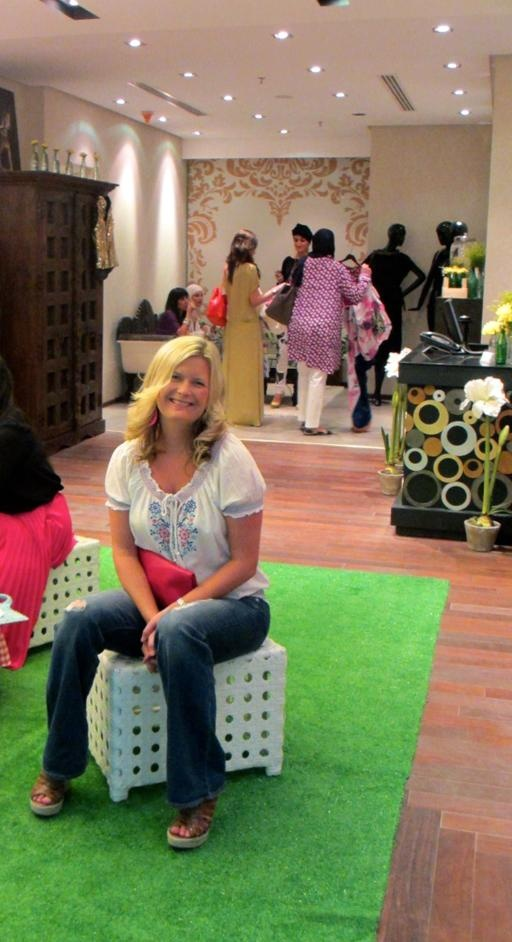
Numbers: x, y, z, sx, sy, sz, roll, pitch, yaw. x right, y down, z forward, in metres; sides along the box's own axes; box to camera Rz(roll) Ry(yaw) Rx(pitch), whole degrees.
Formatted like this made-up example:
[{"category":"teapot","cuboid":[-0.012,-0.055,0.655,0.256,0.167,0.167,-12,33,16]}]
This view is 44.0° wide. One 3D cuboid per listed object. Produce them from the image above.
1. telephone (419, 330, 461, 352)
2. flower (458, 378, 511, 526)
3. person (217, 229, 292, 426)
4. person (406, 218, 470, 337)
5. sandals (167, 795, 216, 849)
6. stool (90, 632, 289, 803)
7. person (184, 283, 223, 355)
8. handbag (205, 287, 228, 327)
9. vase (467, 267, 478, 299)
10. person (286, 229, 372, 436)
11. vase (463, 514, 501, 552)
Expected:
[{"category":"telephone","cuboid":[1.146,-0.775,3.930,0.212,0.083,0.123,26,22,33]},{"category":"flower","cuboid":[1.183,-0.097,3.333,0.265,0.782,0.447,7,7,17]},{"category":"person","cuboid":[-0.064,-1.471,6.555,0.508,1.879,0.564,-17,26,-41]},{"category":"person","cuboid":[2.054,-2.270,7.292,0.343,1.374,1.466,6,7,8]},{"category":"sandals","cuboid":[-0.117,0.660,1.177,0.041,0.073,0.117,1,-19,15]},{"category":"stool","cuboid":[-0.162,0.488,1.475,0.325,0.283,0.344,-2,6,-16]},{"category":"person","cuboid":[-0.717,-1.871,7.966,0.470,0.910,0.613,4,4,14]},{"category":"handbag","cuboid":[-0.391,-1.688,6.518,0.188,0.364,0.356,5,7,-5]},{"category":"vase","cuboid":[2.035,-1.760,5.926,0.086,0.295,0.282,8,7,28]},{"category":"person","cuboid":[0.654,-1.279,6.045,0.689,1.905,0.254,5,6,0]},{"category":"vase","cuboid":[1.210,0.318,3.410,0.169,0.147,0.183,5,11,23]}]
